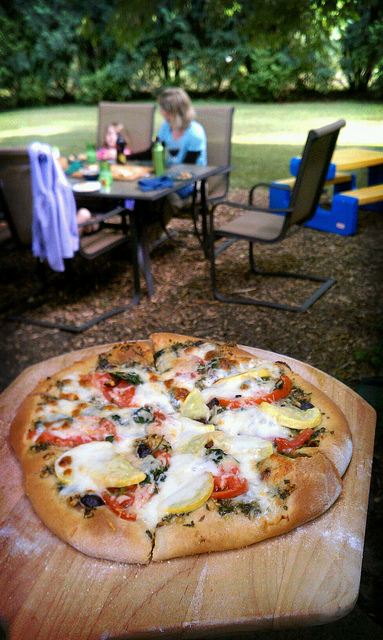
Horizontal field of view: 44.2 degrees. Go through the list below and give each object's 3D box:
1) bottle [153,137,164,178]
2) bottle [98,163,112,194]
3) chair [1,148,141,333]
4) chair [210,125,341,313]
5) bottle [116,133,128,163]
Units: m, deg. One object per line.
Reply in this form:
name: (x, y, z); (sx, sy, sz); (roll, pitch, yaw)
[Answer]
bottle: (-0.213, -1.055, 3.108); (0.067, 0.193, 0.100); (1, 31, 4)
bottle: (-0.532, -0.879, 2.907); (0.073, 0.130, 0.230); (-7, 32, -9)
chair: (-0.807, -0.513, 2.925); (0.924, 1.129, 0.652); (-4, 31, -5)
chair: (0.597, -0.721, 2.829); (0.587, 0.803, 0.573); (12, 17, -19)
bottle: (-0.530, -1.297, 3.566); (0.081, 0.114, 0.222); (0, 73, 2)
